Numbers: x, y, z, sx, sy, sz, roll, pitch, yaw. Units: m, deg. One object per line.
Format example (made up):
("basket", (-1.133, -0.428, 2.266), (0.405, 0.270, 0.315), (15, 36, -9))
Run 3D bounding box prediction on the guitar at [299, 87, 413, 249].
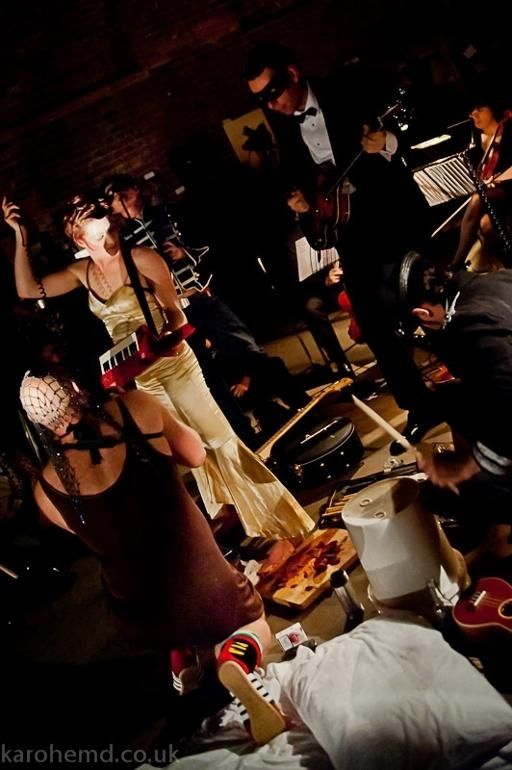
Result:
("guitar", (0.447, -1.029, 3.050), (0.124, 0.350, 0.789), (-17, -23, -37))
